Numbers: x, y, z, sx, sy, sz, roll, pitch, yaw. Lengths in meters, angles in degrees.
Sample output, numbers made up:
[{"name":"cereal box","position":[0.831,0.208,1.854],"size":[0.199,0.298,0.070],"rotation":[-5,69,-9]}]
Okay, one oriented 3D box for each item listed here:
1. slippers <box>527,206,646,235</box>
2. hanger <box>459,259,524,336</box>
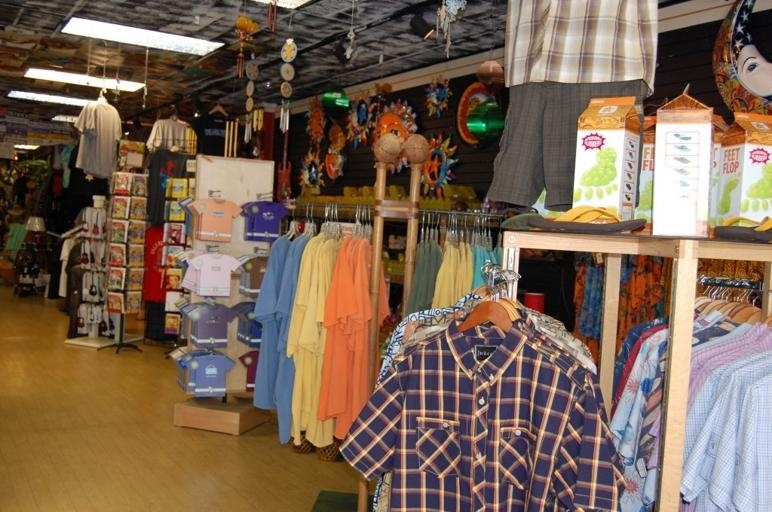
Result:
[{"name":"slippers","position":[0.857,-0.139,2.474],"size":[0.370,0.093,0.190],"rotation":[-1,-3,6]},{"name":"hanger","position":[0.516,0.204,2.918],"size":[0.393,0.373,0.153],"rotation":[4,-4,19]}]
